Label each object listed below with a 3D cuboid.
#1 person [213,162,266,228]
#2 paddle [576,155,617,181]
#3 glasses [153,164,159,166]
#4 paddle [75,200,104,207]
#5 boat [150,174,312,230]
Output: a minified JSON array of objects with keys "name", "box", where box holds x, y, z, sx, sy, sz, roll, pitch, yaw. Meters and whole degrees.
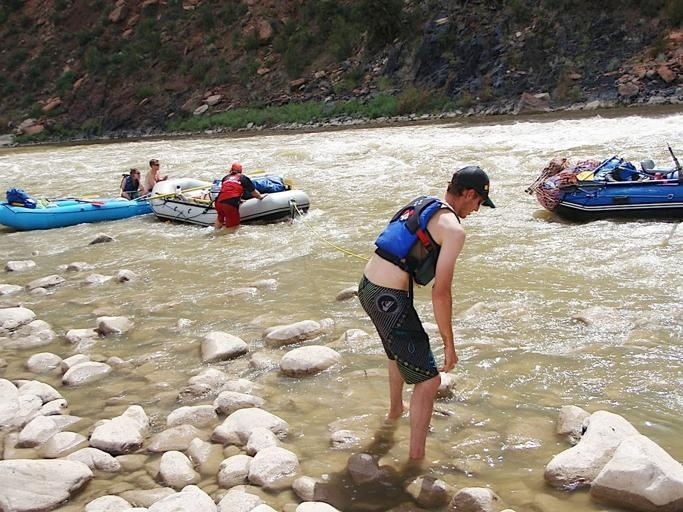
[{"name":"person","box":[-2.156,-1.209,13.524,0.913,1.240,0.807,3,16,13]},{"name":"paddle","box":[4.966,-1.635,12.686,0.904,0.176,0.560,-15,26,-15]},{"name":"glasses","box":[-4.515,-2.219,15.995,0.039,0.039,0.138,5,13,20]},{"name":"paddle","box":[-5.699,-1.214,15.009,1.375,0.136,0.137,3,-7,40]},{"name":"boat","box":[-2.642,-1.120,14.174,3.199,0.530,1.601,5,14,25]}]
